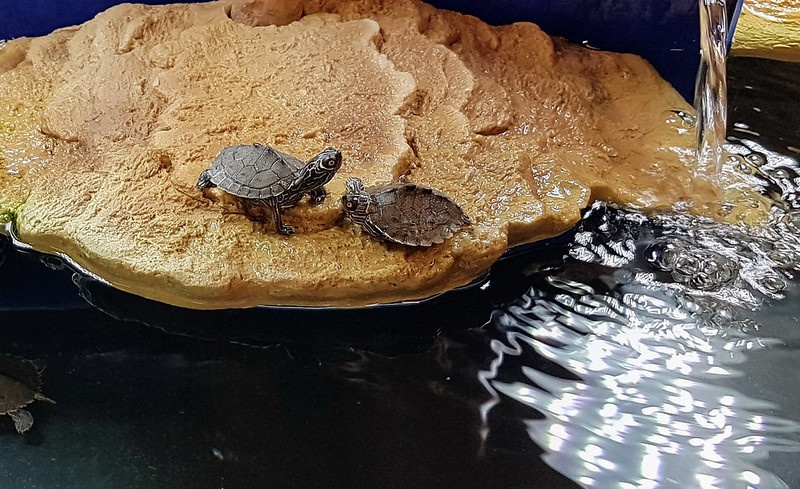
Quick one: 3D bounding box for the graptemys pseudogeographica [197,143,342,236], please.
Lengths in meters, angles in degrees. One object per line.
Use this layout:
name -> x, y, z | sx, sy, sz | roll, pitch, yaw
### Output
graptemys pseudogeographica -> -1.106, -0.597, 7.302 | 1.009, 0.442, 0.761 | 26, 70, 14

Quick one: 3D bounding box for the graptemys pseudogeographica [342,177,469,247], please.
graptemys pseudogeographica -> 0.051, -0.259, 7.213 | 0.872, 0.288, 0.535 | 6, 54, -13
